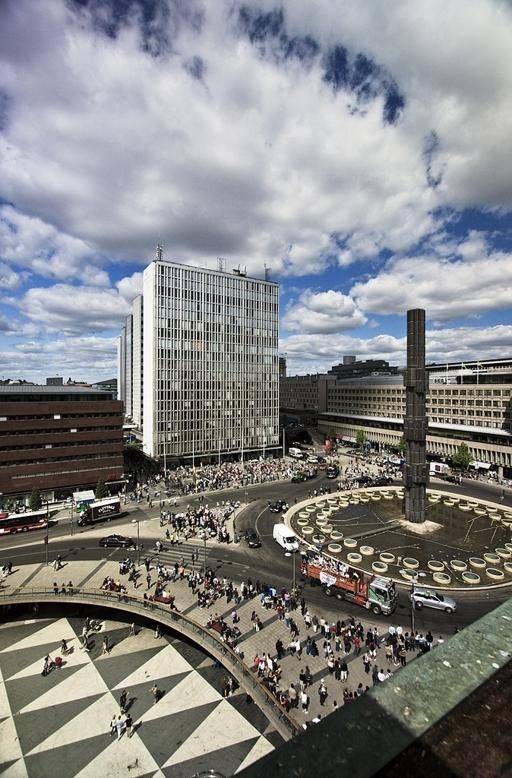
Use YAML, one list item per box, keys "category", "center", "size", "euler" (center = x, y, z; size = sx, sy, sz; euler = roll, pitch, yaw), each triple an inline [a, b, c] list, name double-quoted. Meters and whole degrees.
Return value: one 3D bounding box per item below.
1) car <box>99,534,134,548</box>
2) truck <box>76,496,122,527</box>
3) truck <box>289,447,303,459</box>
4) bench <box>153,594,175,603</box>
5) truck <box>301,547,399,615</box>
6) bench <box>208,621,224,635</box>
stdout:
- category: "car"
  center: [-14.557, 15.997, 50.173]
  size: [2.664, 1.078, 1.557]
  euler: [-1, -6, -3]
- category: "truck"
  center: [-19.632, 15.354, 61.114]
  size: [6.003, 3.207, 2.371]
  euler: [-4, 9, -19]
- category: "truck"
  center: [8.683, 14.179, 105.152]
  size: [1.871, 1.666, 3.140]
  euler: [2, -8, -19]
- category: "bench"
  center: [-6.930, 15.581, 35.699]
  size: [1.450, 0.325, 0.965]
  euler: [-2, 4, 15]
- category: "truck"
  center: [7.258, 15.151, 37.963]
  size: [2.616, 2.636, 7.759]
  euler: [-4, 5, -43]
- category: "bench"
  center: [-2.597, 15.650, 31.696]
  size: [0.675, 0.396, 1.548]
  euler: [-5, 4, -38]
